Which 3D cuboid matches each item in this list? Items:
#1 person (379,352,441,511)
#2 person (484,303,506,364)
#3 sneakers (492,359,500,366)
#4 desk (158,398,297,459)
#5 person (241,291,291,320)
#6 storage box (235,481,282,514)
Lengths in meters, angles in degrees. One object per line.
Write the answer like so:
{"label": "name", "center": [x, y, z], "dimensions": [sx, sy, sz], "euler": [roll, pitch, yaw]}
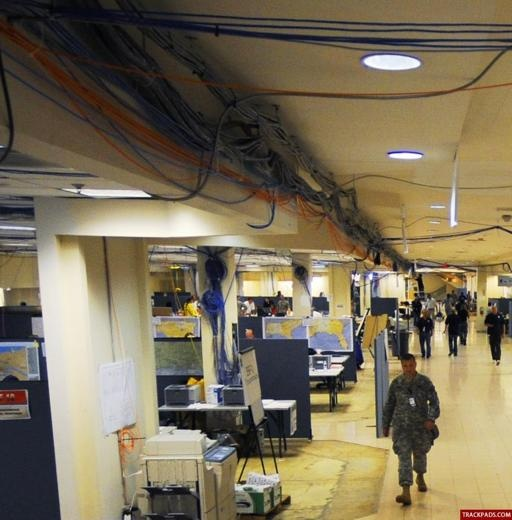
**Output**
{"label": "person", "center": [1.533, 1.657, 5.207], "dimensions": [0.536, 1.250, 0.471], "euler": [-3, -2, 10]}
{"label": "person", "center": [6.044, 1.904, 13.288], "dimensions": [0.393, 1.421, 1.681], "euler": [-4, -2, 23]}
{"label": "sneakers", "center": [6.152, 2.646, 13.446], "dimensions": [0.081, 0.143, 0.235], "euler": [2, 4, 18]}
{"label": "desk", "center": [-0.372, 2.291, 7.195], "dimensions": [1.835, 0.525, 1.267], "euler": [-2, -2, 4]}
{"label": "person", "center": [0.229, 1.603, 17.876], "dimensions": [1.231, 0.680, 1.203], "euler": [-1, -1, 14]}
{"label": "storage box", "center": [0.009, 2.298, 5.035], "dimensions": [0.352, 0.210, 0.423], "euler": [-3, -2, 13]}
